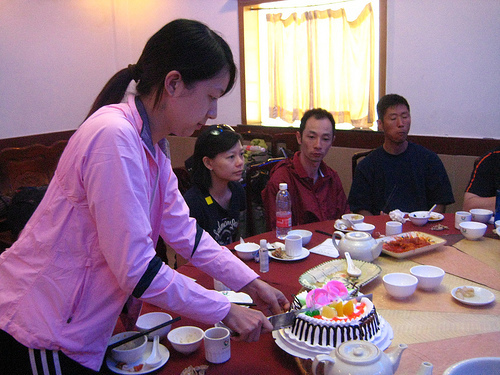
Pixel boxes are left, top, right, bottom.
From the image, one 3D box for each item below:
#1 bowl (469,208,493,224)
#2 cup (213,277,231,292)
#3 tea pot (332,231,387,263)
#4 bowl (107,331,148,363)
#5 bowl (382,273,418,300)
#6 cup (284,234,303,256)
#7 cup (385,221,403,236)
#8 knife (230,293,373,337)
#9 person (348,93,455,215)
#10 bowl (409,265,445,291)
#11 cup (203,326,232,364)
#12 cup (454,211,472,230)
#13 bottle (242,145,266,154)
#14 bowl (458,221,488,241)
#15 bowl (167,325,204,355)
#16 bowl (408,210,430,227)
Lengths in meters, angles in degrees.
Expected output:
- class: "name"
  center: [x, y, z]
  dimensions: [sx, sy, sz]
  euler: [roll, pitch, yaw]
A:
- class: "bowl"
  center: [1.331, 0.152, 2.230]
  dimensions: [0.093, 0.058, 0.096]
  euler: [-3, 4, 0]
- class: "cup"
  center: [-0.122, 0.399, 1.617]
  dimensions: [0.063, 0.069, 0.064]
  euler: [1, -7, 0]
- class: "tea pot"
  center: [0.504, 0.253, 1.847]
  dimensions: [0.134, 0.122, 0.192]
  euler: [-9, 11, -44]
- class: "bowl"
  center: [-0.405, 0.533, 1.289]
  dimensions: [0.083, 0.054, 0.091]
  euler: [0, 21, 0]
- class: "bowl"
  center: [0.594, 0.408, 1.556]
  dimensions: [0.107, 0.070, 0.115]
  euler: [-2, 9, 0]
- class: "cup"
  center: [0.213, 0.287, 1.932]
  dimensions: [0.067, 0.080, 0.099]
  euler: [-2, 10, -5]
- class: "cup"
  center: [0.792, 0.222, 2.134]
  dimensions: [0.069, 0.060, 0.075]
  euler: [1, 10, 0]
- class: "knife"
  center: [0.182, 0.433, 1.298]
  dimensions: [0.332, 0.055, 0.031]
  euler: [-21, 10, -8]
- class: "person"
  center: [1.156, -0.268, 3.073]
  dimensions: [0.781, 0.927, 0.386]
  euler: [-3, 12, 1]
- class: "bowl"
  center: [0.735, 0.385, 1.621]
  dimensions: [0.119, 0.080, 0.130]
  euler: [-3, 11, 1]
- class: "cup"
  center: [-0.107, 0.522, 1.259]
  dimensions: [0.072, 0.082, 0.101]
  euler: [-2, 13, -4]
- class: "cup"
  center: [1.199, 0.184, 2.206]
  dimensions: [0.079, 0.092, 0.114]
  euler: [-3, 9, 10]
- class: "bottle"
  center: [0.009, -0.448, 4.562]
  dimensions: [0.347, 0.111, 0.121]
  euler: [7, 14, 21]
- class: "bowl"
  center: [1.163, 0.219, 2.040]
  dimensions: [0.094, 0.068, 0.102]
  euler: [-2, 1, 0]
- class: "bowl"
  center: [-0.226, 0.534, 1.309]
  dimensions: [0.106, 0.056, 0.114]
  euler: [5, 2, 0]
- class: "bowl"
  center: [1.000, 0.179, 2.292]
  dimensions: [0.096, 0.073, 0.090]
  euler: [-1, 5, 0]
